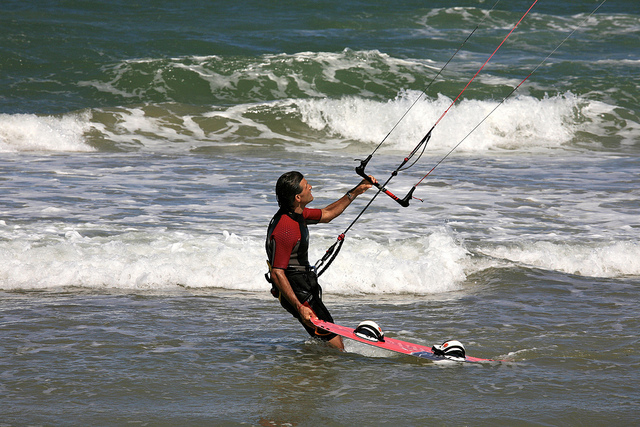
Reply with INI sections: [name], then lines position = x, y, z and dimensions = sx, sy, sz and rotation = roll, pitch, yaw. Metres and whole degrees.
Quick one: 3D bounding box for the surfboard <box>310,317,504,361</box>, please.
[surfboard]
position = 1.645, 2.432, 17.358
dimensions = 3.665, 0.158, 0.386
rotation = 10, 15, -14
